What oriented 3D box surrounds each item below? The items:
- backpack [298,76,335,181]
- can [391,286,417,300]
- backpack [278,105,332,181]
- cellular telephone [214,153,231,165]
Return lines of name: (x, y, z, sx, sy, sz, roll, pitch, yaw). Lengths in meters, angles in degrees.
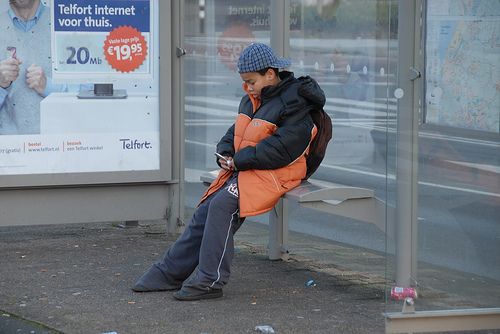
backpack: (0.621, -0.408, 5.006, 0.274, 0.711, 0.536, 3, 10, -25)
can: (1.114, 0.909, 3.878, 0.136, 0.055, 0.093, 0, 36, 1)
backpack: (0.411, -0.272, 5.016, 0.632, 0.635, 0.459, 10, -9, -7)
cellular telephone: (-0.251, -0.073, 4.960, 0.232, 0.027, 0.031, 39, 9, 31)
